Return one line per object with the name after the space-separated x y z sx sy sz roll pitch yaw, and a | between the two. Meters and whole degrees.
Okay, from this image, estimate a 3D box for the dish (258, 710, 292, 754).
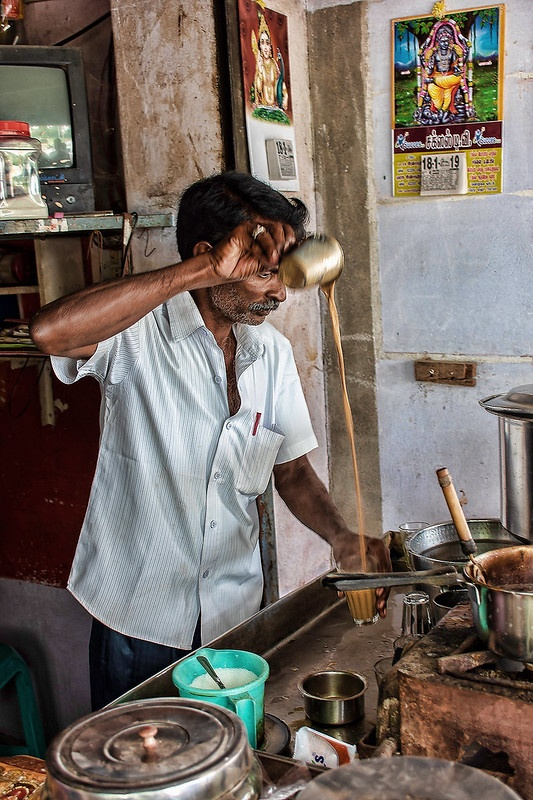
0.011 0.565 1.197 0.064 0.013 0.064 9 18 37 | dish

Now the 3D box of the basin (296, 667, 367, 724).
0.126 0.559 1.327 0.130 0.054 0.125 -1 3 0 | basin

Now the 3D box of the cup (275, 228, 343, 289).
0.098 -0.299 1.527 0.112 0.117 0.203 0 7 32 | cup

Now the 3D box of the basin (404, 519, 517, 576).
0.526 0.409 1.957 0.277 0.091 0.279 -7 -1 0 | basin

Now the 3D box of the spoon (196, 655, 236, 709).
-0.087 0.482 1.208 0.023 0.018 0.097 -37 49 -12 | spoon

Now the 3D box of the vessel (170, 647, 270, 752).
-0.067 0.511 1.166 0.163 0.130 0.190 -5 5 -19 | vessel

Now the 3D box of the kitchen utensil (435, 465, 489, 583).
0.339 0.228 1.220 0.070 0.234 0.039 -21 4 -36 | kitchen utensil

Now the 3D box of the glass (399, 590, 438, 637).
0.323 0.461 1.564 0.097 0.089 0.090 -2 3 31 | glass

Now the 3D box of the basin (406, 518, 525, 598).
0.532 0.437 1.952 0.255 0.059 0.233 -8 6 1 | basin
